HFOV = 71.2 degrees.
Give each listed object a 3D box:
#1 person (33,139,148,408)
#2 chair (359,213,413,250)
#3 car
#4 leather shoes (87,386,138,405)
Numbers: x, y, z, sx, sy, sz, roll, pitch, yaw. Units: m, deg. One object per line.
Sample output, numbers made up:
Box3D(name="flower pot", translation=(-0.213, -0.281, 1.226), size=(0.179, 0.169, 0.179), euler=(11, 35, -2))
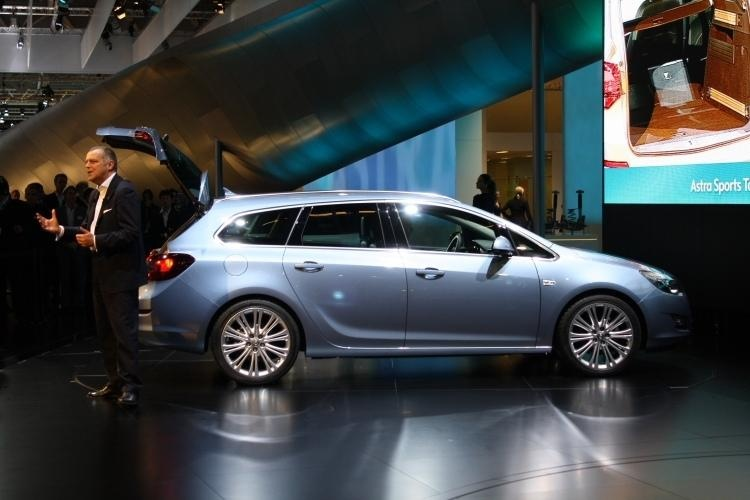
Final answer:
Box3D(name="person", translation=(-2.484, 0.237, 5.003), size=(0.526, 2.461, 0.531), euler=(-2, 4, -22))
Box3D(name="chair", translation=(0.074, -0.194, 5.531), size=(0.436, 0.232, 0.275), euler=(-3, 11, -1))
Box3D(name="car", translation=(0.402, 0.034, 6.543), size=(5.231, 2.465, 2.458), euler=(-1, 1, -2))
Box3D(name="leather shoes", translation=(-2.539, 1.414, 5.085), size=(0.416, 0.193, 0.160), euler=(3, 0, 16))
